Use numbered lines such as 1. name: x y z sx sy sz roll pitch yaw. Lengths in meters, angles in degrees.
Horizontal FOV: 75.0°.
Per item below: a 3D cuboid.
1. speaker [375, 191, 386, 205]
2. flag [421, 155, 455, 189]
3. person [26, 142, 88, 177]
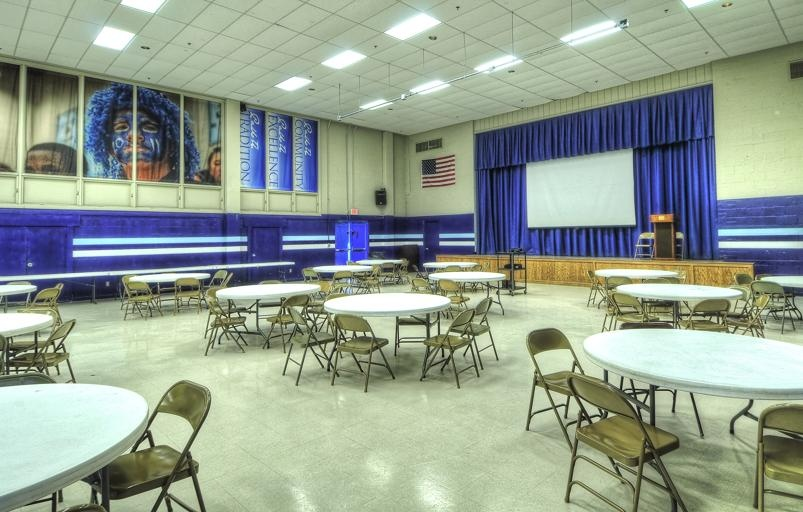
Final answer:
1. speaker: -0.712 -2.139 19.128 0.414 0.561 0.398 -2 2 -3
2. flag: 1.396 -3.049 19.110 1.588 1.076 0.042 3 7 41
3. person: -8.733 -2.396 13.116 1.173 0.723 1.399 0 0 -38
